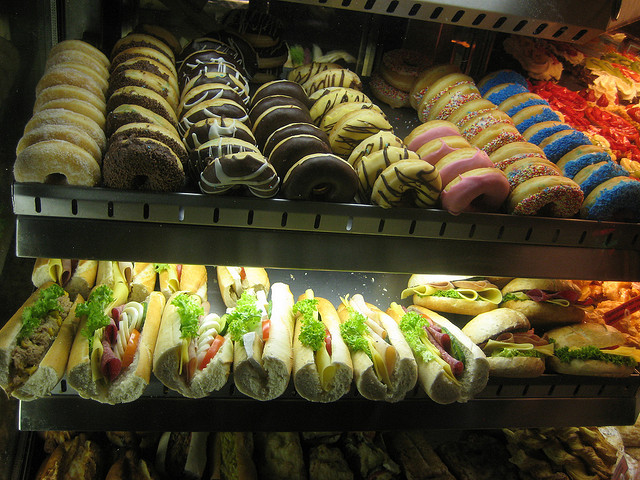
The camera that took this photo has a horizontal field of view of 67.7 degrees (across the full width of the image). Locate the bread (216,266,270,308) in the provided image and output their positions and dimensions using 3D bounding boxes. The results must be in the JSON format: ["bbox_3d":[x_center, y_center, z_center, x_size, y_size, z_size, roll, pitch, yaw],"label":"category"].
[{"bbox_3d":[-0.347,0.220,2.142,0.142,0.266,0.077,-4,-39,-14],"label":"bread"}]

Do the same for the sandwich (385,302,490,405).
[{"bbox_3d":[0.478,0.444,2.120,0.246,0.213,0.505,-8,31,-22],"label":"sandwich"}]

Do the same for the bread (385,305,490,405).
[{"bbox_3d":[0.515,0.494,2.240,0.321,0.213,0.623,-14,21,-9],"label":"bread"}]

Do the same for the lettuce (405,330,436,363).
[{"bbox_3d":[0.411,0.441,2.001,0.060,0.054,0.147,-5,34,-29],"label":"lettuce"}]

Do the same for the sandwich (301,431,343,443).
[{"bbox_3d":[0.009,0.948,2.315,0.184,0.060,0.038,1,-2,-4],"label":"sandwich"}]

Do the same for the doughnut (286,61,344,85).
[{"bbox_3d":[-0.035,-0.717,2.180,0.183,0.063,0.136,-5,6,1],"label":"doughnut"}]

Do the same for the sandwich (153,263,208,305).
[{"bbox_3d":[-0.626,0.198,2.182,0.225,0.212,0.083,13,-17,-9],"label":"sandwich"}]

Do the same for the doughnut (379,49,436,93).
[{"bbox_3d":[0.417,-0.816,2.296,0.235,0.086,0.227,-14,44,-24],"label":"doughnut"}]

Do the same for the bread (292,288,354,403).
[{"bbox_3d":[-0.021,0.452,2.048,0.225,0.200,0.503,-3,20,-8],"label":"bread"}]

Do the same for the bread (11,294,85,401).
[{"bbox_3d":[-0.982,0.392,1.762,0.167,0.342,0.111,18,-16,-10],"label":"bread"}]

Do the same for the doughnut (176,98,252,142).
[{"bbox_3d":[-0.398,-0.487,1.856,0.263,0.094,0.278,-1,8,0],"label":"doughnut"}]

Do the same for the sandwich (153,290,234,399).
[{"bbox_3d":[-0.506,0.417,2.059,0.311,0.233,0.614,7,14,-8],"label":"sandwich"}]

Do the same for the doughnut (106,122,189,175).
[{"bbox_3d":[-0.578,-0.310,1.625,0.198,0.068,0.196,34,-28,-33],"label":"doughnut"}]

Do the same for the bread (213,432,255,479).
[{"bbox_3d":[-0.395,0.986,2.202,0.186,0.196,0.052,2,-3,9],"label":"bread"}]

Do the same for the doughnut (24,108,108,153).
[{"bbox_3d":[-0.924,-0.396,1.690,0.281,0.098,0.287,-2,12,28],"label":"doughnut"}]

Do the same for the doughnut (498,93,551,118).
[{"bbox_3d":[0.937,-0.573,2.209,0.161,0.053,0.152,-3,6,-19],"label":"doughnut"}]

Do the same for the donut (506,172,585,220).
[{"bbox_3d":[0.844,-0.144,1.786,0.210,0.088,0.212,-5,-11,-10],"label":"donut"}]

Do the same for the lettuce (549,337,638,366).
[{"bbox_3d":[1.222,0.514,2.137,0.202,0.052,0.155,7,9,3],"label":"lettuce"}]

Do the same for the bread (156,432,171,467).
[{"bbox_3d":[-0.728,0.961,2.217,0.028,0.108,0.107,4,21,-5],"label":"bread"}]

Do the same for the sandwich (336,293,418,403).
[{"bbox_3d":[0.215,0.454,2.168,0.291,0.233,0.617,-11,21,-8],"label":"sandwich"}]

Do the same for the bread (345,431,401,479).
[{"bbox_3d":[0.254,1.026,2.293,0.262,0.186,0.097,0,-2,8],"label":"bread"}]

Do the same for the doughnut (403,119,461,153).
[{"bbox_3d":[0.484,-0.413,2.054,0.266,0.094,0.272,-10,0,-13],"label":"doughnut"}]

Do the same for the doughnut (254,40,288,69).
[{"bbox_3d":[-0.226,-0.822,2.195,0.130,0.046,0.134,-16,-36,0],"label":"doughnut"}]

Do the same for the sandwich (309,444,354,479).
[{"bbox_3d":[0.041,1.042,2.246,0.139,0.042,0.143,2,41,-14],"label":"sandwich"}]

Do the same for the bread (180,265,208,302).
[{"bbox_3d":[-0.571,0.187,2.166,0.137,0.185,0.051,13,-21,-41],"label":"bread"}]

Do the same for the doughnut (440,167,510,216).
[{"bbox_3d":[0.588,-0.176,1.793,0.265,0.098,0.238,-11,-21,-32],"label":"doughnut"}]

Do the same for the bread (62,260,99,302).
[{"bbox_3d":[-1.045,0.157,2.063,0.130,0.098,0.268,3,25,-21],"label":"bread"}]

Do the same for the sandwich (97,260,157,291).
[{"bbox_3d":[-0.839,0.151,2.067,0.198,0.074,0.191,6,-5,-28],"label":"sandwich"}]

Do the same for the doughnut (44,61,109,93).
[{"bbox_3d":[-0.869,-0.608,1.765,0.134,0.042,0.137,25,-1,8],"label":"doughnut"}]

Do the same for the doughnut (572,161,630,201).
[{"bbox_3d":[1.097,-0.234,1.872,0.162,0.056,0.167,-27,-5,-1],"label":"doughnut"}]

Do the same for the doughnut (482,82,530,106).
[{"bbox_3d":[0.883,-0.674,2.263,0.169,0.053,0.157,-15,-10,32],"label":"doughnut"}]
